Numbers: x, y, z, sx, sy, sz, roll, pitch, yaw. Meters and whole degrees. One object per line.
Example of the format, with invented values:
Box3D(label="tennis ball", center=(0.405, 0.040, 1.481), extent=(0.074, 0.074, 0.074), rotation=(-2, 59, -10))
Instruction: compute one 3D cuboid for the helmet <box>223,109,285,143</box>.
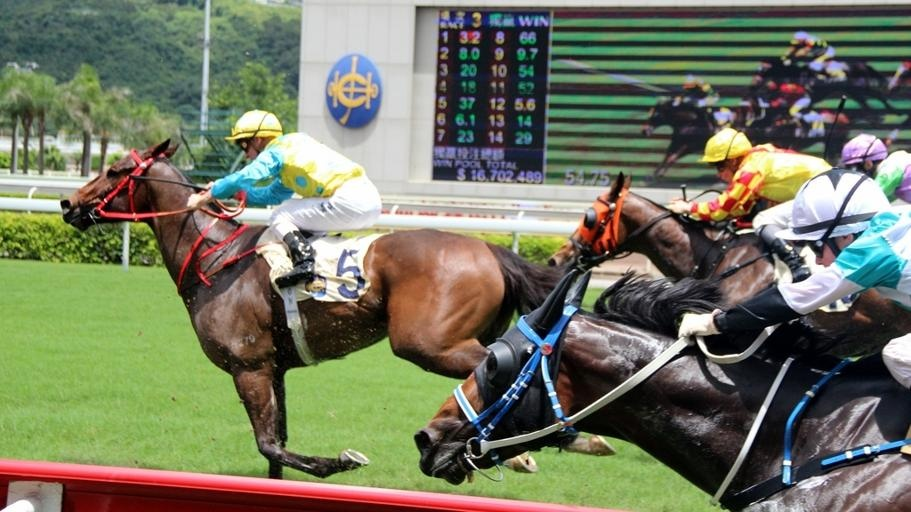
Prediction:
Box3D(label="helmet", center=(-2.165, -1.404, 12.692), extent=(0.506, 0.236, 0.333), rotation=(6, 3, -5))

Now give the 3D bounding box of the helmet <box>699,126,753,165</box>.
Box3D(label="helmet", center=(2.998, -1.241, 13.147), extent=(0.549, 0.262, 0.391), rotation=(-9, 4, -1))

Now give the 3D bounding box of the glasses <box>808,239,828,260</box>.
Box3D(label="glasses", center=(3.524, -0.071, 11.472), extent=(0.096, 0.156, 0.123), rotation=(-7, 4, 25))

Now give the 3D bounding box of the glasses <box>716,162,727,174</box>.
Box3D(label="glasses", center=(2.963, -0.991, 13.098), extent=(0.139, 0.124, 0.040), rotation=(2, 6, 9))

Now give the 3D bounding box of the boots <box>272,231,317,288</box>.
Box3D(label="boots", center=(-1.650, 0.038, 12.272), extent=(0.398, 0.575, 0.267), rotation=(3, 16, -8))

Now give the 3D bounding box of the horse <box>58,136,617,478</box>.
Box3D(label="horse", center=(-1.090, 0.539, 12.608), extent=(6.518, 3.200, 1.479), rotation=(-3, 0, 16))

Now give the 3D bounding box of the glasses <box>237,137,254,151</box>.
Box3D(label="glasses", center=(-2.245, -1.207, 12.608), extent=(0.162, 0.075, 0.122), rotation=(-1, 2, -43))

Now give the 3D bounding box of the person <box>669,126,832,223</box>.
Box3D(label="person", center=(3.330, -0.890, 13.194), extent=(1.961, 0.861, 0.912), rotation=(3, 10, -7))

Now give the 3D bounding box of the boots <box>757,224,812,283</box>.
Box3D(label="boots", center=(3.457, -0.032, 12.501), extent=(0.289, 0.868, 0.228), rotation=(-28, -26, -5))
